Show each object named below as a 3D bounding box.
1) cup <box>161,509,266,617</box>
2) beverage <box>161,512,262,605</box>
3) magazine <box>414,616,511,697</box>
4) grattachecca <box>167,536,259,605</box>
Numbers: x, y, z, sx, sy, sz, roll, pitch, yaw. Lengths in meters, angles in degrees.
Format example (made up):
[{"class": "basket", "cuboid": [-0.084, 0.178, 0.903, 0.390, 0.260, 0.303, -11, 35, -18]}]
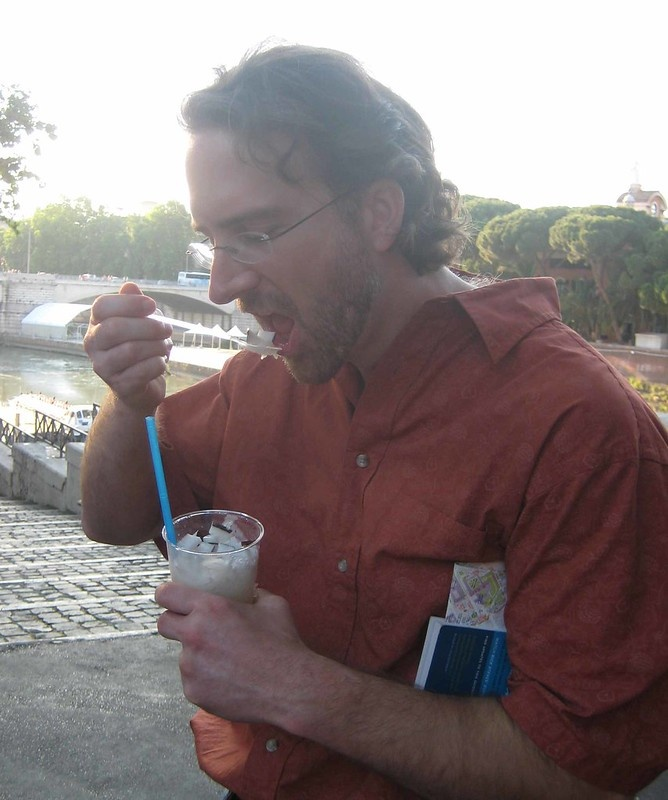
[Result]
[{"class": "cup", "cuboid": [-0.197, 0.264, 1.221, 0.145, 0.127, 0.164, 7, 7, 30]}, {"class": "beverage", "cuboid": [-0.202, 0.240, 1.216, 0.143, 0.126, 0.162, 5, 6, 26]}, {"class": "magazine", "cuboid": [0.218, 0.443, 1.200, 0.137, 0.141, 0.033, 4, 9, 3]}, {"class": "grattachecca", "cuboid": [-0.176, 0.296, 1.189, 0.102, 0.092, 0.115, -2, -14, -6]}]
